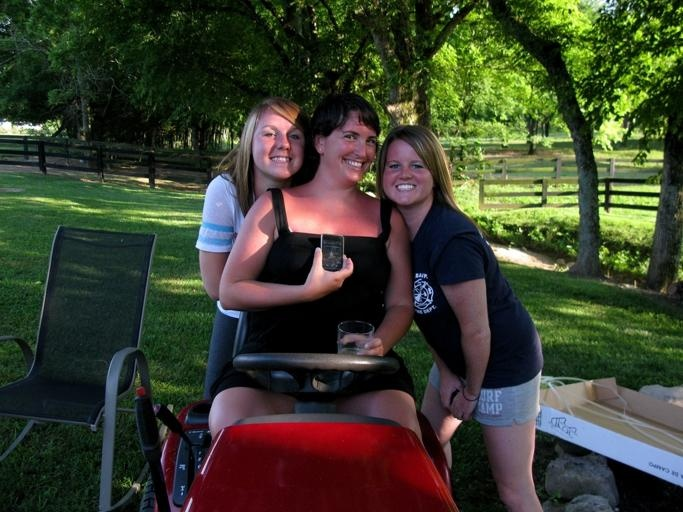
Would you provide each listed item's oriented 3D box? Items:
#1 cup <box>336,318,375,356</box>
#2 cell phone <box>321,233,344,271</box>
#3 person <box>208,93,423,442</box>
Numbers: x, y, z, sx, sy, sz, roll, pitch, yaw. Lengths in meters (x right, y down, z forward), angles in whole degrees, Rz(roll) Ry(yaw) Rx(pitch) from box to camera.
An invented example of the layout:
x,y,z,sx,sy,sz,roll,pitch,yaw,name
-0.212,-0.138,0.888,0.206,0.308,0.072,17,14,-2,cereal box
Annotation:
x,y,z,sx,sy,sz,roll,pitch,yaw,name
0.067,0.390,2.634,0.140,0.137,0.153,4,-1,0,cup
-0.037,-0.022,2.830,0.153,0.179,0.123,-1,10,-24,cell phone
-0.113,-0.032,2.905,1.097,1.728,0.832,1,9,-11,person
